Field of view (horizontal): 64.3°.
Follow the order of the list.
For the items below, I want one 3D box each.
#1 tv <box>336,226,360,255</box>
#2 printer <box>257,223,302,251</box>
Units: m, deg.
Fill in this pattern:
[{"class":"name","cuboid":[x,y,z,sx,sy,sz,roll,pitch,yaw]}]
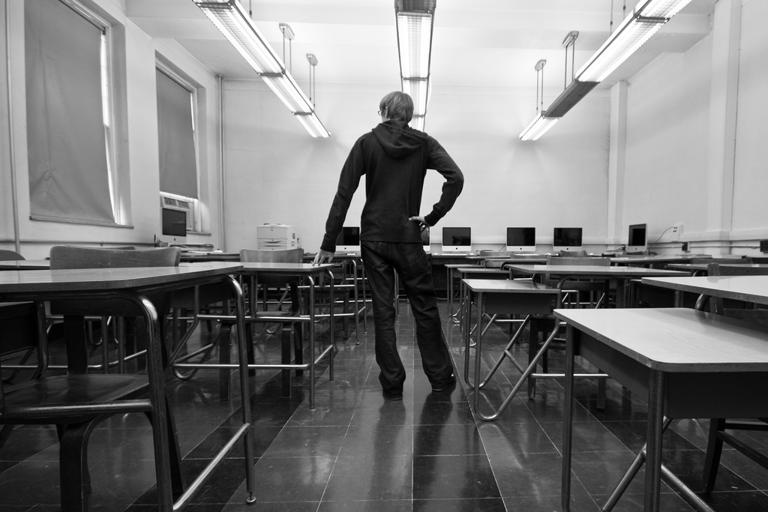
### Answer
[{"class":"tv","cuboid":[-0.614,-0.227,9.992,0.546,0.516,0.140,-1,7,6]},{"class":"printer","cuboid":[-1.636,-0.268,9.605,0.704,0.585,0.726,0,-4,0]}]
